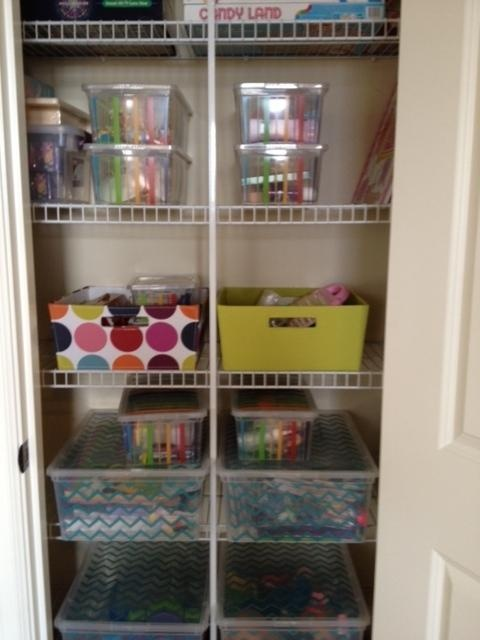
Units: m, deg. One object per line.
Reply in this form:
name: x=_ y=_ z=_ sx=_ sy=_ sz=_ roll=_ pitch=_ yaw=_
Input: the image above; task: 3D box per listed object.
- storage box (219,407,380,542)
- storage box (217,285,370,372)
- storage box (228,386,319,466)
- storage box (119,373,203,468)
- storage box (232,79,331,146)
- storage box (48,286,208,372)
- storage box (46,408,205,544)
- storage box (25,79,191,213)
storage box: x=0.151 y=0.371 z=1.503 sx=0.396 sy=0.228 sz=0.426 roll=-1 pitch=11 yaw=1
storage box: x=0.119 y=0.011 z=1.416 sx=0.344 sy=0.162 sz=0.349 roll=-1 pitch=11 yaw=-1
storage box: x=0.080 y=0.216 z=1.477 sx=0.207 sy=0.169 sz=0.269 roll=0 pitch=30 yaw=-4
storage box: x=-0.198 y=0.224 z=1.444 sx=0.212 sy=0.192 sz=0.216 roll=1 pitch=12 yaw=2
storage box: x=0.068 y=-0.449 z=1.307 sx=0.213 sy=0.121 sz=0.168 roll=-6 pitch=9 yaw=-18
storage box: x=-0.255 y=0.001 z=1.427 sx=0.341 sy=0.170 sz=0.382 roll=-2 pitch=11 yaw=-3
storage box: x=-0.271 y=0.339 z=1.496 sx=0.362 sy=0.303 sz=0.431 roll=-2 pitch=11 yaw=-4
storage box: x=-0.302 y=-0.392 z=1.328 sx=0.289 sy=0.194 sz=0.304 roll=-2 pitch=20 yaw=-5
